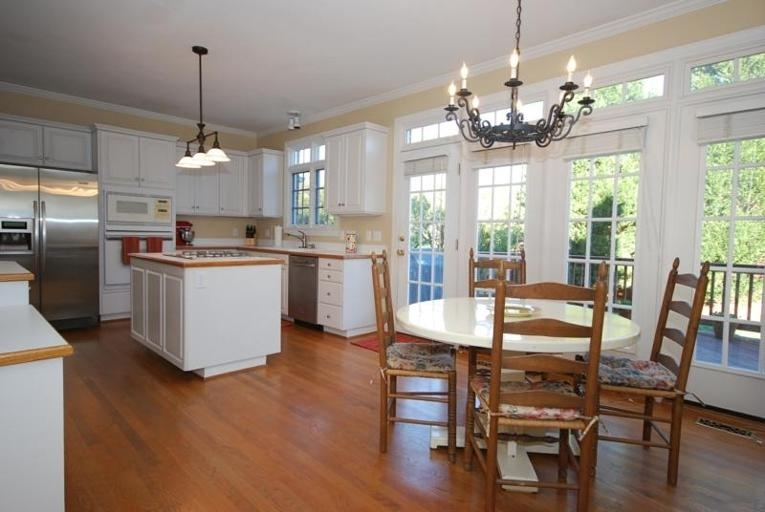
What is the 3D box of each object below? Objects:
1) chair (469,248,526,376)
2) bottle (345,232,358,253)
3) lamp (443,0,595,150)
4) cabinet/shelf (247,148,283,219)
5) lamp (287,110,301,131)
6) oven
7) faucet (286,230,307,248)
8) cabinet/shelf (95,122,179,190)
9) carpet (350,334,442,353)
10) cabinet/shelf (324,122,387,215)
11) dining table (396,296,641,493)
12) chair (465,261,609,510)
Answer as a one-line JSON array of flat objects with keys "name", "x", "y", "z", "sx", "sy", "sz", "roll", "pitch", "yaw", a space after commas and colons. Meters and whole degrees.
[{"name": "chair", "x": 1.034, "y": 0.470, "z": 4.398, "sx": 0.583, "sy": 0.916, "sz": 0.555, "roll": 3, "pitch": 14, "yaw": 19}, {"name": "bottle", "x": -0.409, "y": -0.181, "z": 6.628, "sx": 0.161, "sy": 0.264, "sz": 0.343, "roll": 0, "pitch": 11, "yaw": -5}, {"name": "lamp", "x": 1.349, "y": -1.739, "z": 4.724, "sx": 1.318, "sy": 1.695, "sz": 1.128, "roll": 2, "pitch": -8, "yaw": 8}, {"name": "cabinet/shelf", "x": -1.846, "y": -1.128, "z": 7.816, "sx": 0.572, "sy": 1.023, "sz": 0.363, "roll": 2, "pitch": 12, "yaw": 1}, {"name": "lamp", "x": -1.258, "y": -1.903, "z": 7.145, "sx": 0.259, "sy": 0.259, "sz": 0.252, "roll": 0, "pitch": 5, "yaw": -12}, {"name": "oven", "x": -3.545, "y": -0.173, "z": 6.950, "sx": 0.771, "sy": 1.357, "sz": 1.069, "roll": 12, "pitch": 11, "yaw": 40}, {"name": "faucet", "x": -1.259, "y": -0.247, "z": 7.547, "sx": 0.207, "sy": 0.221, "sz": 0.323, "roll": 4, "pitch": 1, "yaw": 38}, {"name": "cabinet/shelf", "x": -3.310, "y": -1.289, "z": 6.668, "sx": 1.181, "sy": 0.951, "sz": 0.445, "roll": 2, "pitch": -1, "yaw": -42}, {"name": "carpet", "x": 0.125, "y": 0.837, "z": 4.771, "sx": 0.450, "sy": 0.018, "sz": 0.489, "roll": 1, "pitch": 3, "yaw": 19}, {"name": "cabinet/shelf", "x": -0.361, "y": -1.095, "z": 6.436, "sx": 0.852, "sy": 1.142, "sz": 0.495, "roll": 3, "pitch": 12, "yaw": 7}, {"name": "dining table", "x": 0.881, "y": 0.706, "z": 3.621, "sx": 1.431, "sy": 0.849, "sz": 1.393, "roll": 2, "pitch": 7, "yaw": 5}, {"name": "chair", "x": 1.071, "y": 0.823, "z": 3.502, "sx": 0.955, "sy": 1.688, "sz": 1.085, "roll": 5, "pitch": 12, "yaw": 19}]
